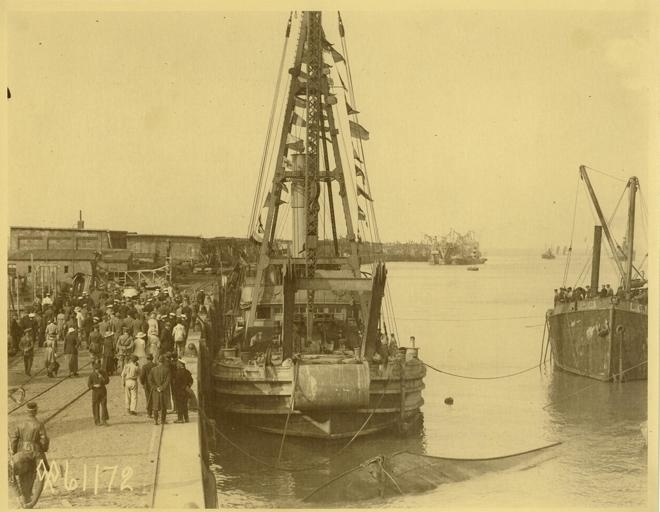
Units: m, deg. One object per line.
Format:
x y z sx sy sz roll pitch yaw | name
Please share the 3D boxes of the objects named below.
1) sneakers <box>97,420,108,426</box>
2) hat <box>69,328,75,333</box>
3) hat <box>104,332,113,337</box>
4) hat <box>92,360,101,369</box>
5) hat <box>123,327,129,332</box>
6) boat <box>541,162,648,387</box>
-5.943 4.334 24.634 0.331 0.127 0.148 -2 -6 25 | sneakers
-7.352 2.083 26.903 0.182 0.150 0.152 1 -5 -6 | hat
-6.217 2.172 26.382 0.211 0.072 0.226 -12 4 17 | hat
-6.506 2.989 26.406 0.280 0.149 0.426 1 -1 -3 | hat
-5.983 2.128 27.647 0.134 0.132 0.128 -12 -14 40 | hat
9.501 1.349 33.172 3.092 6.028 6.153 1 -5 -8 | boat
